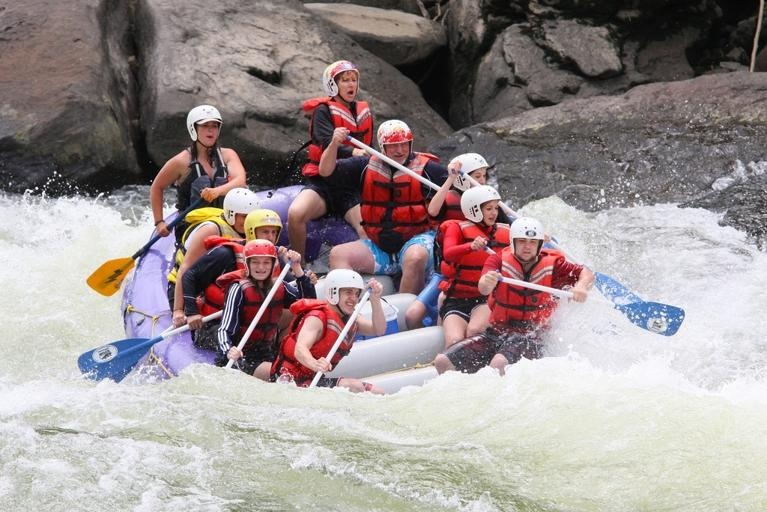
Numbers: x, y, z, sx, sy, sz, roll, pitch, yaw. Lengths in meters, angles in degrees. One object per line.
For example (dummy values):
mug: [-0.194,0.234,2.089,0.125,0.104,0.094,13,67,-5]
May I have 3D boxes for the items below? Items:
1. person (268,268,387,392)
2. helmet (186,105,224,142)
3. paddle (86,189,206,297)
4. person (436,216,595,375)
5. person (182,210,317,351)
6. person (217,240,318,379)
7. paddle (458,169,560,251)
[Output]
person: [-0.446,0.670,8.173,1.006,0.949,0.737,-12,31,-37]
helmet: [-1.869,-1.358,9.571,0.309,0.402,0.338,1,25,-16]
paddle: [-2.643,-0.173,9.564,0.421,0.086,1.982,-1,-35,47]
person: [1.156,0.410,8.554,1.338,1.744,1.117,9,2,13]
person: [-1.230,0.222,8.635,1.220,1.393,1.094,8,-3,1]
person: [-1.107,0.486,8.468,0.942,1.252,0.875,2,3,-40]
paddle: [1.310,-0.463,10.001,0.148,0.403,2.079,42,5,26]
